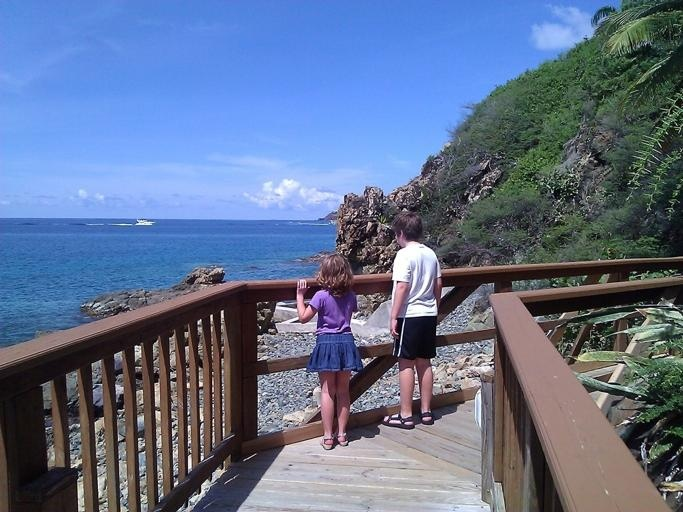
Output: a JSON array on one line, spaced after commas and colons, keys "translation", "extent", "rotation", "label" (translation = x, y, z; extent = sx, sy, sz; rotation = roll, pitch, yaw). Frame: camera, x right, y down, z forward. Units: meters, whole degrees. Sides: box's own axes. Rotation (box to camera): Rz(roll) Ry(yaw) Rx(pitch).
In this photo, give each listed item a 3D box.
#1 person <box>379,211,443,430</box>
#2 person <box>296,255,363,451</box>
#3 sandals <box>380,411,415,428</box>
[{"translation": [0.640, 0.566, 4.203], "extent": [0.531, 1.906, 0.291], "rotation": [-3, 8, -27], "label": "person"}, {"translation": [-0.097, 0.770, 3.837], "extent": [0.527, 1.586, 0.352], "rotation": [0, 7, -6], "label": "person"}, {"translation": [0.505, 1.455, 4.215], "extent": [0.220, 0.085, 0.123], "rotation": [2, -7, 20], "label": "sandals"}]
